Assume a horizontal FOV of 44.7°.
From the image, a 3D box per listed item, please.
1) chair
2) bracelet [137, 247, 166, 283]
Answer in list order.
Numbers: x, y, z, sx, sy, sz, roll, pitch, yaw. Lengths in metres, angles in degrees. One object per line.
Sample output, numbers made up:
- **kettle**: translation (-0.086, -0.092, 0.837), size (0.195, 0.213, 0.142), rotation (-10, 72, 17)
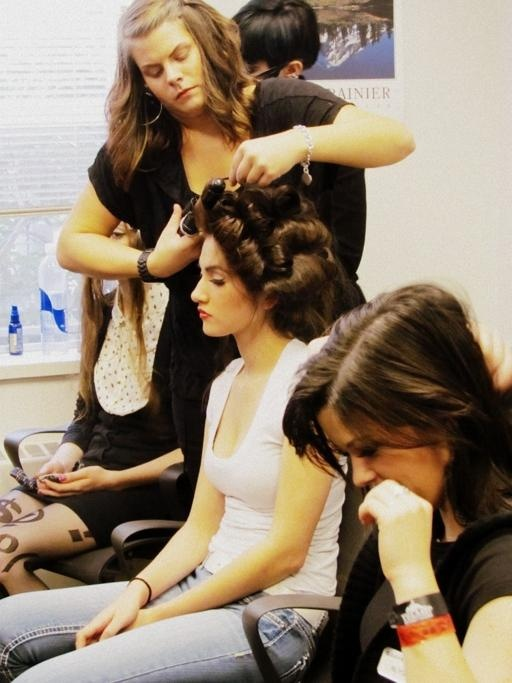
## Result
- **chair**: translation (-0.018, 0.430, 1.390), size (0.414, 0.481, 0.415), rotation (11, -11, -30)
- **bracelet**: translation (-0.245, -0.161, 1.418), size (0.074, 0.072, 0.050), rotation (-9, 11, -44)
